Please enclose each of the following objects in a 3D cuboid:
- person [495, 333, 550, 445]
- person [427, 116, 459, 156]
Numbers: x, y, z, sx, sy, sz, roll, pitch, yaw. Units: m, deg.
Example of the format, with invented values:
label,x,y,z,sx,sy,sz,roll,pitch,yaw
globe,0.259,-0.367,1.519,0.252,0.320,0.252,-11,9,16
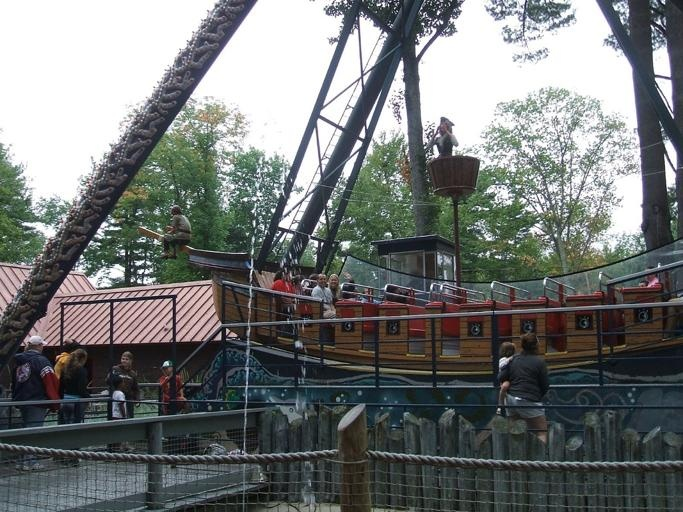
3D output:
label,x,y,z,sx,sy,sz,roll,pitch,yaw
person,3.048,2.132,16.851,0.830,1.567,0.490,-7,-18,26
person,2.522,-2.948,24.845,0.689,1.277,1.735,0,-16,5
